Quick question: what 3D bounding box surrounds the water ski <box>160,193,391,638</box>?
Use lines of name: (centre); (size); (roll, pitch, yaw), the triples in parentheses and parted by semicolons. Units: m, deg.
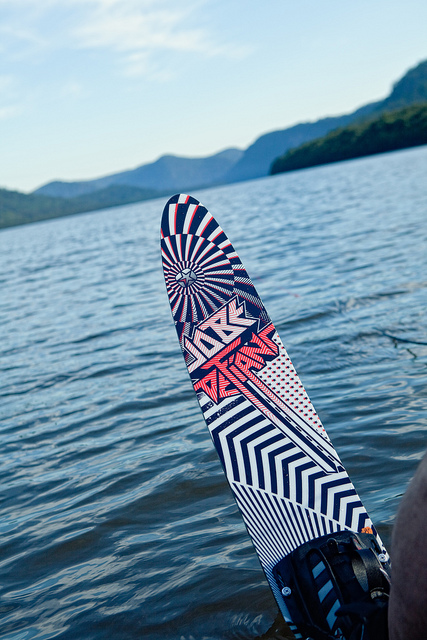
water ski: (0.058, 0.078, 4.086); (0.603, 0.285, 3.402); (-18, 46, -6)
